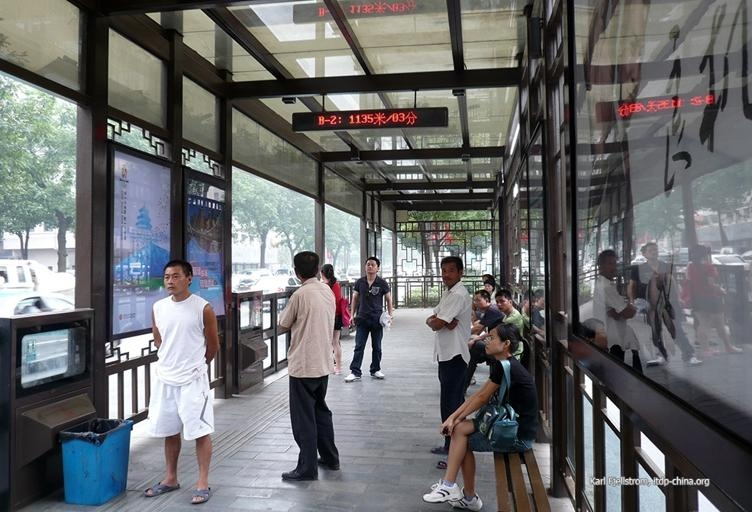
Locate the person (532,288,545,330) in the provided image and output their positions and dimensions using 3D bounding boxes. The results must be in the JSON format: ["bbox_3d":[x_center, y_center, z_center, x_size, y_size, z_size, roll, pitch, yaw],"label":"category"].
[{"bbox_3d":[1.604,0.543,5.160,0.122,0.502,1.342,0,0,17],"label":"person"}]

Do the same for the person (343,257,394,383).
[{"bbox_3d":[-0.118,1.003,8.672,0.729,1.971,1.242,0,0,2],"label":"person"}]

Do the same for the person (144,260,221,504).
[{"bbox_3d":[-1.603,1.003,4.323,0.589,1.926,0.425,0,1,12],"label":"person"}]

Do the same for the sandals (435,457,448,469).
[{"bbox_3d":[0.628,1.958,4.890,0.071,0.087,0.200,-3,-15,20],"label":"sandals"}]

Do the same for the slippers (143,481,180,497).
[{"bbox_3d":[-1.765,1.909,4.236,0.241,0.066,0.100,7,-15,-22],"label":"slippers"}]

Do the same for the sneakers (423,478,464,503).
[{"bbox_3d":[0.535,1.870,4.117,0.397,0.200,0.144,-2,-12,2],"label":"sneakers"}]

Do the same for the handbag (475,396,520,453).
[{"bbox_3d":[0.939,1.210,3.969,0.250,0.454,0.486,8,0,-4],"label":"handbag"}]

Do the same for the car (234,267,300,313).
[{"bbox_3d":[-3.888,0.900,18.242,1.114,0.862,2.515,-6,-12,21],"label":"car"}]

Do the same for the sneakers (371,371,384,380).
[{"bbox_3d":[0.050,1.941,8.398,0.218,0.087,0.276,0,0,-7],"label":"sneakers"}]

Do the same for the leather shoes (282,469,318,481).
[{"bbox_3d":[-0.684,1.944,4.596,0.271,0.120,0.118,2,-11,5],"label":"leather shoes"}]

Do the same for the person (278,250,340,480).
[{"bbox_3d":[-0.607,0.967,4.668,0.344,2.011,0.552,1,1,38],"label":"person"}]

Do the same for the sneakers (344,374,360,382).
[{"bbox_3d":[-0.371,1.927,8.193,0.260,0.093,0.329,0,0,-3],"label":"sneakers"}]

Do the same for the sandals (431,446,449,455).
[{"bbox_3d":[0.634,1.930,5.143,0.177,0.067,0.066,3,-3,7],"label":"sandals"}]

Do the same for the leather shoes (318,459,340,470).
[{"bbox_3d":[-0.442,1.924,4.815,0.193,0.086,0.078,4,-7,24],"label":"leather shoes"}]
